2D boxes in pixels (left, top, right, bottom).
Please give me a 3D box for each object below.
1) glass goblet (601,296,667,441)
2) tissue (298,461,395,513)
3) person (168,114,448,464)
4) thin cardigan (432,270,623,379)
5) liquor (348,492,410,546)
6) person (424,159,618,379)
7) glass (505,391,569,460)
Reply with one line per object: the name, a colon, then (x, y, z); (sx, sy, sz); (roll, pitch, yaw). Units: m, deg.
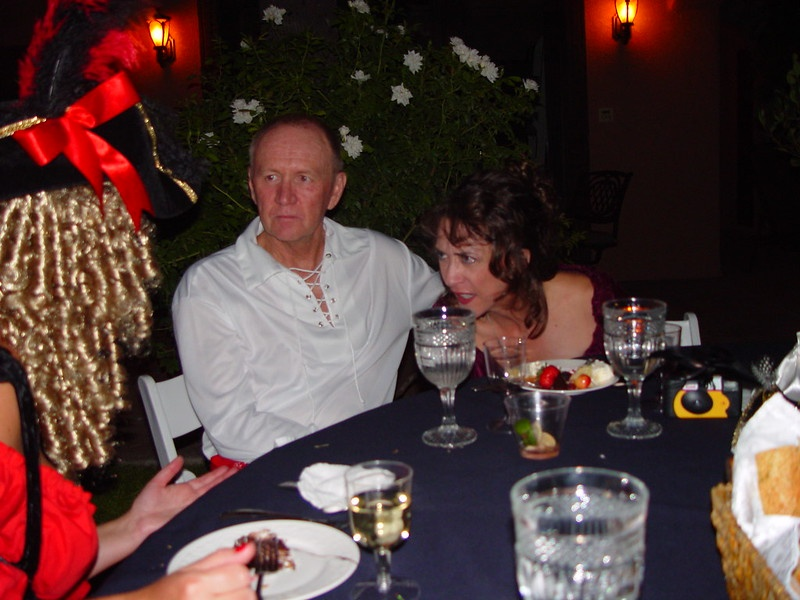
glass goblet: (0.607, 0.190, 1.663); (0.200, 0.445, 0.199); (-2, 18, 20)
tissue: (-0.117, 0.375, 1.297); (0.152, 0.052, 0.120); (-1, -1, 43)
person: (-0.279, -0.045, 2.638); (0.568, 1.262, 1.396); (6, 12, 42)
thin cardigan: (0.620, 0.177, 2.719); (0.583, 0.216, 0.463); (-11, 26, -14)
liquor: (-0.035, 0.378, 1.120); (0.091, 0.106, 0.099); (0, 21, 5)
person: (0.550, -0.103, 2.779); (0.764, 0.938, 0.678); (-13, 15, -4)
glass: (0.329, 0.304, 1.527); (0.170, 0.145, 0.170); (-1, -12, 1)
